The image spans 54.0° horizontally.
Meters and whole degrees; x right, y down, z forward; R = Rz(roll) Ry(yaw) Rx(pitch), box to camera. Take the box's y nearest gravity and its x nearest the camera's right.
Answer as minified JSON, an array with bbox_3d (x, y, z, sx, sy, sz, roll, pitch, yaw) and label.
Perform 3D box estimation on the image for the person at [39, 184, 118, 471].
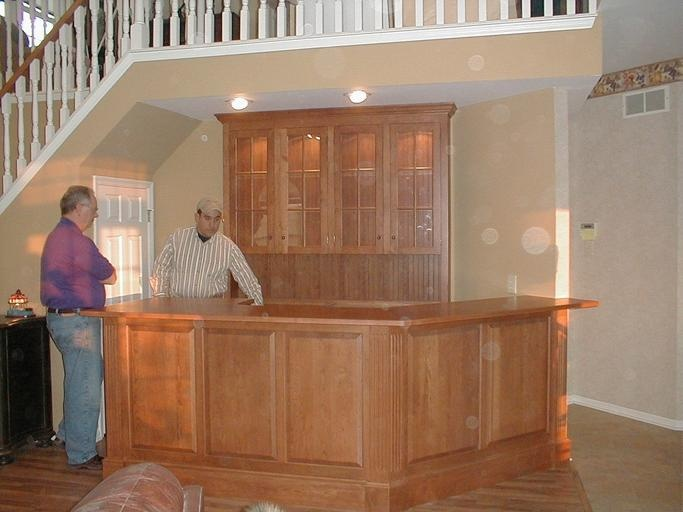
[{"bbox_3d":[-2.112,0.570,5.422,0.567,2.366,0.251,-2,1,-17],"label":"person"}]

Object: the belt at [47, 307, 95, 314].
[{"bbox_3d":[-2.192,0.427,5.350,0.348,0.062,0.081,-2,0,17],"label":"belt"}]

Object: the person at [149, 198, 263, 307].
[{"bbox_3d":[-1.148,0.081,5.751,0.952,0.815,0.237,-2,0,8],"label":"person"}]

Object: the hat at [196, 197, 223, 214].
[{"bbox_3d":[-1.101,-0.416,5.597,0.179,0.144,0.140,-2,0,-18],"label":"hat"}]

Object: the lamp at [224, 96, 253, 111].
[{"bbox_3d":[-0.939,-1.401,6.167,0.185,0.060,0.317,-2,0,-8],"label":"lamp"}]
